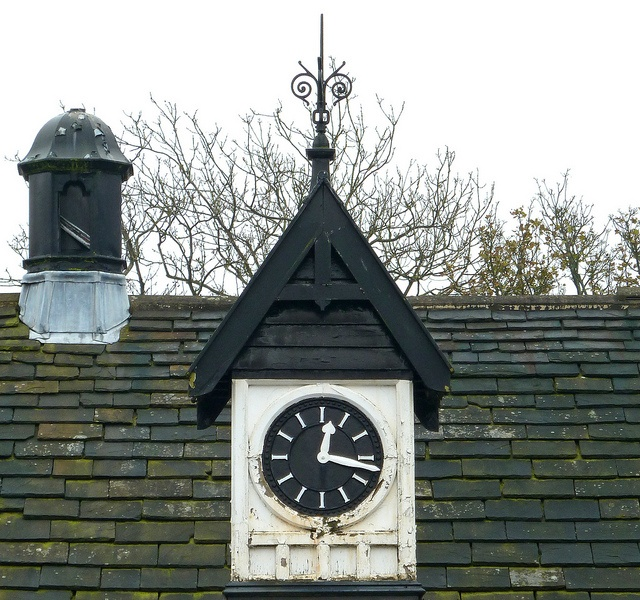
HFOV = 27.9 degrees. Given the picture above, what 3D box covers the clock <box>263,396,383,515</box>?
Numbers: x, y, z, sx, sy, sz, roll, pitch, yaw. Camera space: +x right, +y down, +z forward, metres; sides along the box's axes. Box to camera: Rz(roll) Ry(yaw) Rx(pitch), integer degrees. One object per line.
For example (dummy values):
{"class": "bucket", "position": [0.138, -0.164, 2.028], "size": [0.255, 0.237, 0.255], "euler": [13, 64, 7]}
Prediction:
{"class": "clock", "position": [0.001, 1.141, 9.137], "size": [0.781, 0.832, 0.059], "euler": [1, -17, 1]}
